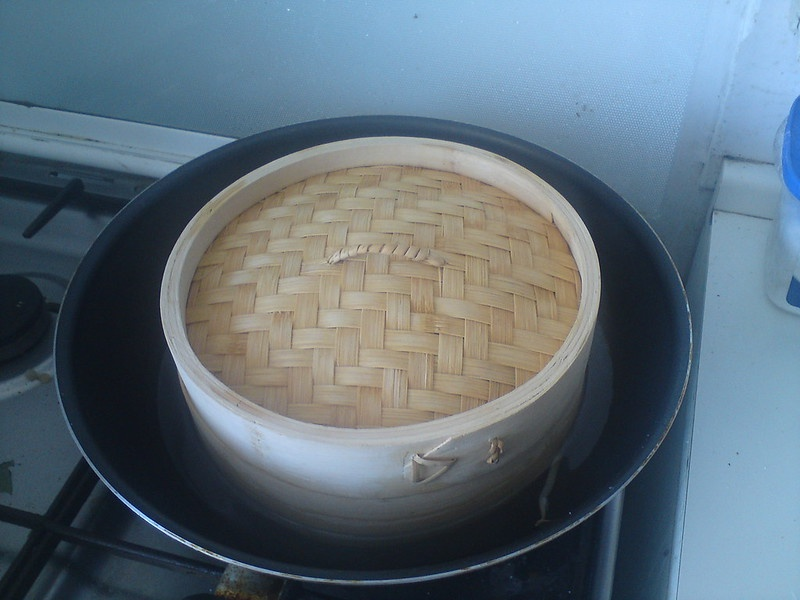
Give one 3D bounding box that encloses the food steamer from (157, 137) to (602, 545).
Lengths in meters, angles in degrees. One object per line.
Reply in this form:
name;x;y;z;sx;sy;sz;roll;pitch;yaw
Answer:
food steamer;-0.023;0.022;0.785;0.448;0.216;0.404;18;48;12
